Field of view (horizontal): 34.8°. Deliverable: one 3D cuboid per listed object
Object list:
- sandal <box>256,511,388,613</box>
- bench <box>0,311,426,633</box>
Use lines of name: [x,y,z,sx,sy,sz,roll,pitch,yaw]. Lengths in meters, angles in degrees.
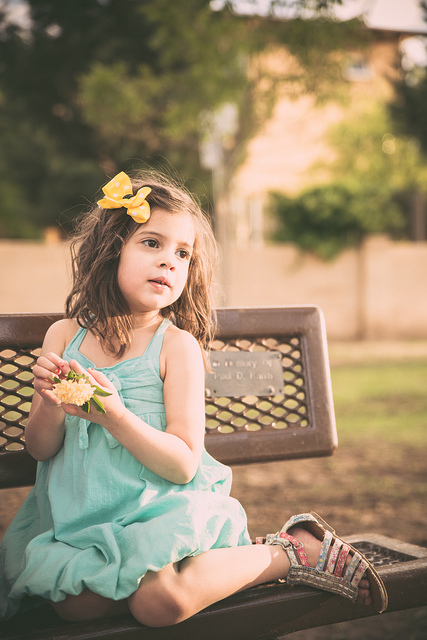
sandal: [0.165,0.358,1.055,0.175,0.124,0.289,-1,0,4]
bench: [-0.002,0.274,1.195,0.805,0.336,0.413,0,0,-26]
